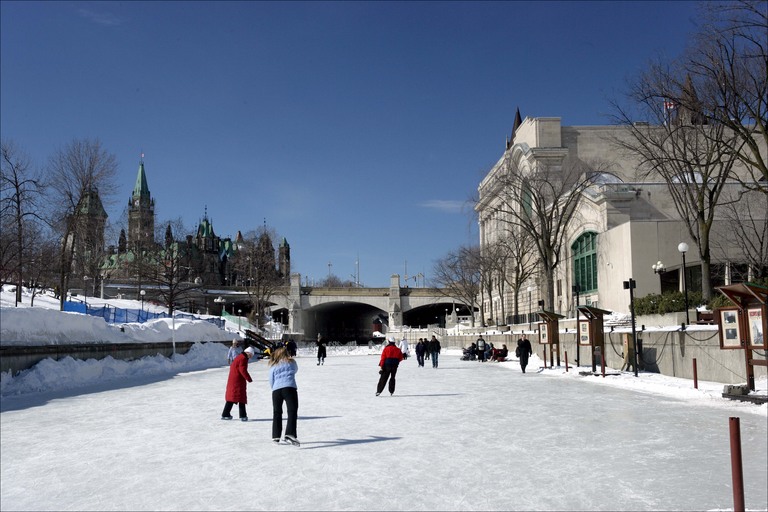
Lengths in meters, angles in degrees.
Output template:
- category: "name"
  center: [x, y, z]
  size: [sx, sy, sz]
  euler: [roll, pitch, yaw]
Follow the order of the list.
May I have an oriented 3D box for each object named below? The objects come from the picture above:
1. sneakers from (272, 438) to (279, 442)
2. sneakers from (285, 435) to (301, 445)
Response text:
- category: "sneakers"
  center: [-2.727, 4.616, 17.740]
  size: [0.119, 0.061, 0.167]
  euler: [0, -7, 2]
- category: "sneakers"
  center: [-2.260, 4.511, 17.180]
  size: [0.214, 0.196, 0.467]
  euler: [0, 10, -36]
